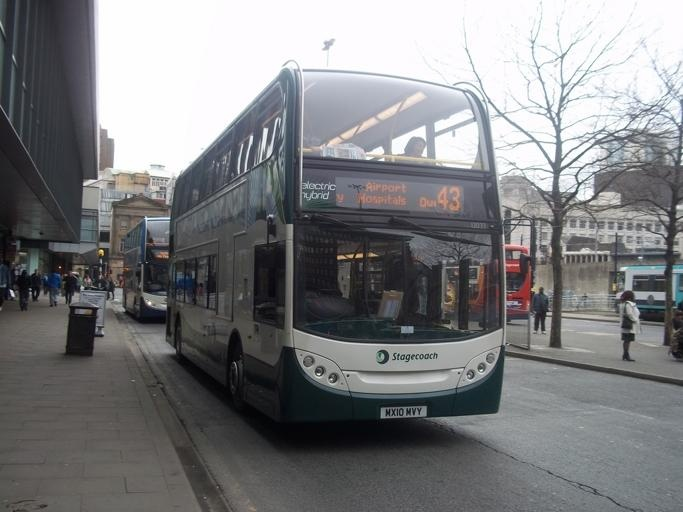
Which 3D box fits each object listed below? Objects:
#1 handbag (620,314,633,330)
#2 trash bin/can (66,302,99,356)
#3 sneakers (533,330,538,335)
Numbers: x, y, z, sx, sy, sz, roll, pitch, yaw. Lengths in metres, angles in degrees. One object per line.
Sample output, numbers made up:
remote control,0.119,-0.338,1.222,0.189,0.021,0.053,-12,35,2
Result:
handbag,8.389,1.925,16.680,0.391,0.618,0.233,3,-4,40
trash bin/can,-6.536,1.838,14.309,0.680,1.320,0.898,1,-1,-28
sneakers,9.894,3.867,28.823,0.156,0.252,0.516,0,-5,1
